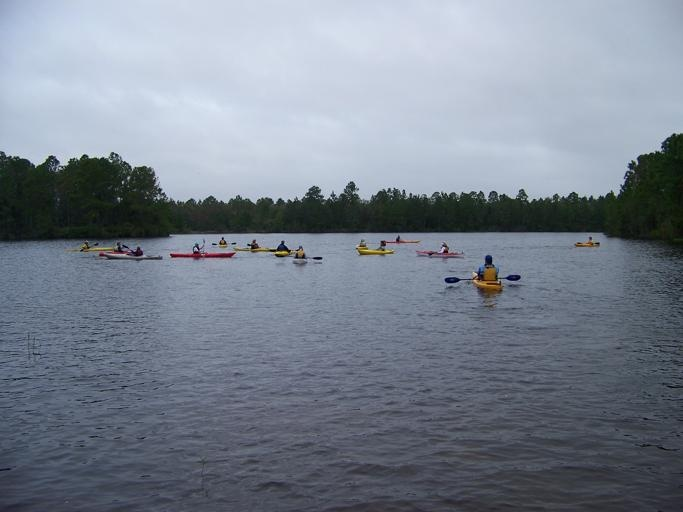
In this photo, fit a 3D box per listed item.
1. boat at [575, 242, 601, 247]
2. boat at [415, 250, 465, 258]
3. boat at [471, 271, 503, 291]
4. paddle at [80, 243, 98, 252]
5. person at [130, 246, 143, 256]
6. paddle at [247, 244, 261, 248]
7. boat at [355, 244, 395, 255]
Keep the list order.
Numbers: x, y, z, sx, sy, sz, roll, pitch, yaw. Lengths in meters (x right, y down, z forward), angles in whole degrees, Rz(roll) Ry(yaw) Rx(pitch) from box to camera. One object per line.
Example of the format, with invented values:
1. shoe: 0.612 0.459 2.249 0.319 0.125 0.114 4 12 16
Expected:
1. boat: 32.452 -1.562 91.105 1.142 0.671 3.652 1 3 -23
2. boat: 9.345 -0.138 65.518 3.643 0.495 6.746 1 0 -4
3. boat: 7.687 1.300 36.374 1.067 0.780 2.295 1 0 -4
4. paddle: -28.808 -0.976 78.471 0.886 0.851 2.631 13 3 -14
5. person: -18.280 -0.445 61.083 1.058 0.891 3.242 1 0 -19
6. paddle: -9.781 -1.093 77.431 0.871 0.494 1.382 15 -10 -24
7. boat: 3.220 -0.520 70.060 3.183 0.978 3.839 1 0 9
